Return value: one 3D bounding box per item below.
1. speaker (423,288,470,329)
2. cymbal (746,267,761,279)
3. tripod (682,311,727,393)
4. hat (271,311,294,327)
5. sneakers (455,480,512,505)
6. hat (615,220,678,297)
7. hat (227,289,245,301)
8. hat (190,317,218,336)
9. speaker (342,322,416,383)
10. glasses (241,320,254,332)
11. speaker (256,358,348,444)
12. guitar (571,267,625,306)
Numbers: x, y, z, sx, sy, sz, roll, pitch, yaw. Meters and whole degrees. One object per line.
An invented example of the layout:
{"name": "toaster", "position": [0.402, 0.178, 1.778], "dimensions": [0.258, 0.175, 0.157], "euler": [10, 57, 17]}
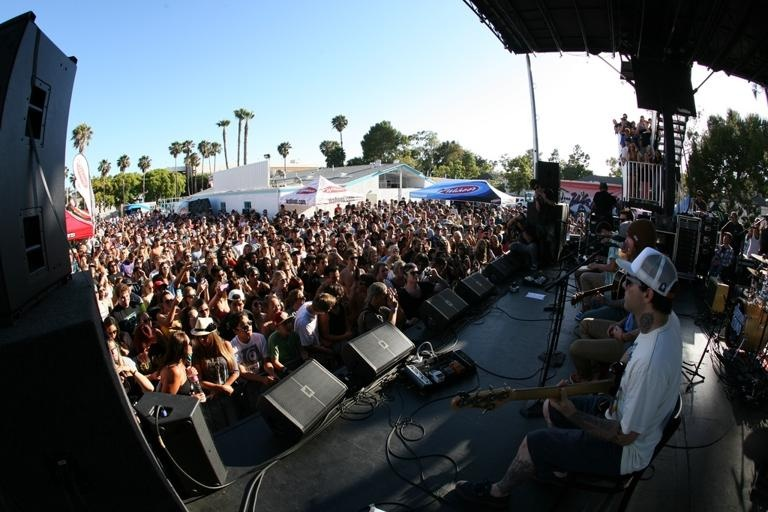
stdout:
{"name": "speaker", "position": [0.919, 0.723, 6.718], "dimensions": [0.543, 0.541, 0.656], "euler": [16, 32, 39]}
{"name": "cymbal", "position": [5.130, 0.218, 6.204], "dimensions": [0.227, 0.066, 0.241], "euler": [7, 17, 34]}
{"name": "tripod", "position": [4.368, 1.308, 6.115], "dimensions": [0.516, 0.350, 1.015], "euler": [27, 46, 26]}
{"name": "hat", "position": [-1.320, 0.809, 5.945], "dimensions": [0.293, 0.174, 0.422], "euler": [-8, 12, -14]}
{"name": "sneakers", "position": [0.871, 2.031, 3.980], "dimensions": [0.465, 0.179, 0.184], "euler": [10, 12, 7]}
{"name": "hat", "position": [2.194, 0.023, 3.718], "dimensions": [0.487, 0.271, 0.321], "euler": [43, 27, 22]}
{"name": "hat", "position": [-2.035, 0.518, 6.172], "dimensions": [0.208, 0.159, 0.302], "euler": [0, 2, -4]}
{"name": "hat", "position": [-2.138, 0.807, 5.329], "dimensions": [0.263, 0.187, 0.290], "euler": [-13, 14, -34]}
{"name": "speaker", "position": [-0.076, 1.120, 5.455], "dimensions": [0.606, 0.398, 0.811], "euler": [36, 38, 22]}
{"name": "glasses", "position": [-1.698, 0.848, 5.570], "dimensions": [0.046, 0.156, 0.149], "euler": [-4, -1, 37]}
{"name": "speaker", "position": [-0.800, 1.425, 4.649], "dimensions": [0.648, 0.642, 0.917], "euler": [-2, 20, 38]}
{"name": "guitar", "position": [2.980, 0.399, 6.195], "dimensions": [1.074, 0.430, 0.183], "euler": [-23, 28, -20]}
